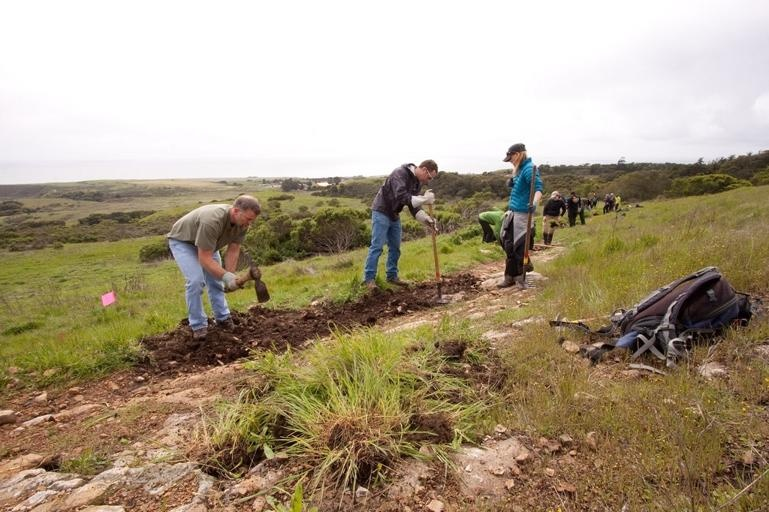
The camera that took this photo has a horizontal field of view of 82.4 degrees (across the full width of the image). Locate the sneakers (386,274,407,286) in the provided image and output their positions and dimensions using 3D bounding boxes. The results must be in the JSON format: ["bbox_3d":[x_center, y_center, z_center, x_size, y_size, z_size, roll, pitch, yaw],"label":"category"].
[{"bbox_3d":[0.243,0.522,9.140,0.468,0.194,0.174,2,2,23],"label":"sneakers"}]

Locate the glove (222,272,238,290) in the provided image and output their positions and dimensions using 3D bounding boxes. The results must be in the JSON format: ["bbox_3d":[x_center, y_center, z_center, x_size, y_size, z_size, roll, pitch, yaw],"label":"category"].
[{"bbox_3d":[-2.336,0.384,6.620,0.225,0.221,0.227,-12,-25,15],"label":"glove"}]

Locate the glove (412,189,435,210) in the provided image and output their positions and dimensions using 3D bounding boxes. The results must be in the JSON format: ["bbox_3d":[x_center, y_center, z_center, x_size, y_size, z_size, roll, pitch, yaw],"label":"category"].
[{"bbox_3d":[0.795,-1.026,8.373,0.396,0.173,0.320,-26,29,-20],"label":"glove"}]

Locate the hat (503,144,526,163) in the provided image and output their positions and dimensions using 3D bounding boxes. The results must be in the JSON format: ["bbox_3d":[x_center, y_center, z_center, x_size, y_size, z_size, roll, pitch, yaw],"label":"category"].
[{"bbox_3d":[2.453,-1.932,8.281,0.324,0.295,0.504,-2,13,16],"label":"hat"}]

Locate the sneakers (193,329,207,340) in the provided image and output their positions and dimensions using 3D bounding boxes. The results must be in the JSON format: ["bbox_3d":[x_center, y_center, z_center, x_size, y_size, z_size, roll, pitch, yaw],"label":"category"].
[{"bbox_3d":[-2.956,1.251,7.036,0.211,0.145,0.167,-12,14,-23],"label":"sneakers"}]

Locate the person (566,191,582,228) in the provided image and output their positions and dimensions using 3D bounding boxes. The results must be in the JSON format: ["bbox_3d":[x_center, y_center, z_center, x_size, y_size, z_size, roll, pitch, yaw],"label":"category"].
[{"bbox_3d":[8.929,-2.132,20.645,0.559,1.561,2.752,-1,14,23],"label":"person"}]

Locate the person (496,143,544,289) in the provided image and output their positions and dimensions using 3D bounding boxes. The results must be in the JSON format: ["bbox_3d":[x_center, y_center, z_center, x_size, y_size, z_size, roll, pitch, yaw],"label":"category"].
[{"bbox_3d":[2.549,-0.730,8.339,0.701,2.653,0.914,-13,15,-26],"label":"person"}]
